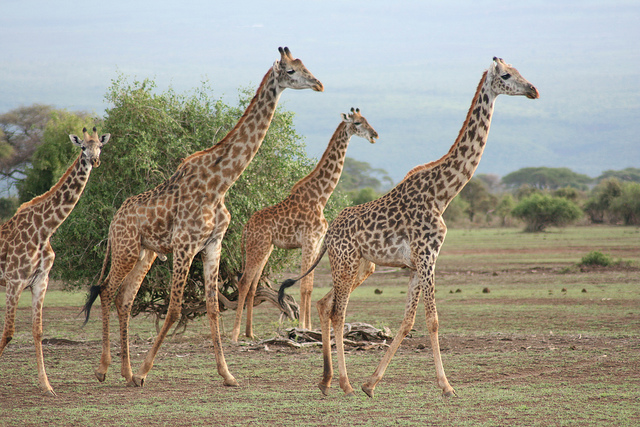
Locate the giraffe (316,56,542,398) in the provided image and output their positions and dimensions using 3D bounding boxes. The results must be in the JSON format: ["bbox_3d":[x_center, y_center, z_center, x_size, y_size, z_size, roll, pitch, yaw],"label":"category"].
[{"bbox_3d":[2.095,-0.116,25.739,4.093,7.468,7.265,0,12,3],"label":"giraffe"}]

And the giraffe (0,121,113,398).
[{"bbox_3d":[-6.086,0.945,23.596,1.613,5.664,2.364,11,17,42],"label":"giraffe"}]
